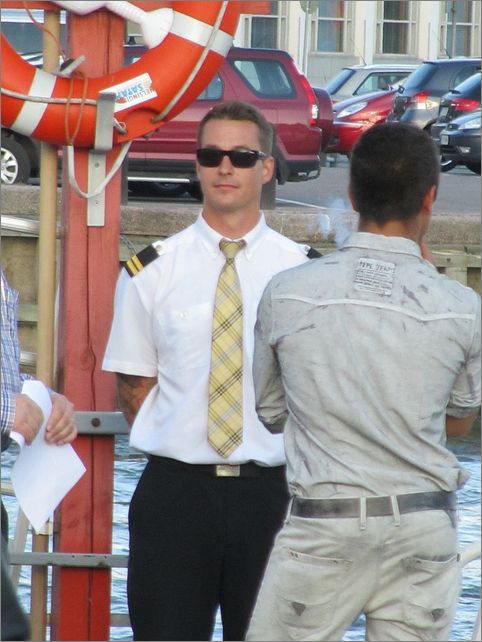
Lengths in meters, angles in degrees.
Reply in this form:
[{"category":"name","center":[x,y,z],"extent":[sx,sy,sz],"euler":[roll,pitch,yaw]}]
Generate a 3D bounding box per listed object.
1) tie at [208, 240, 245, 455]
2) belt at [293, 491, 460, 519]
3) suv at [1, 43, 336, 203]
[{"category":"tie","center":[-0.039,0.073,5.633],"extent":[0.101,0.604,0.221],"euler":[0,2,0]},{"category":"belt","center":[0.330,0.466,5.046],"extent":[0.415,0.069,0.101],"euler":[0,2,5]},{"category":"suv","center":[-0.476,-1.476,13.171],"extent":[1.975,1.279,1.082],"euler":[2,2,-3]}]
